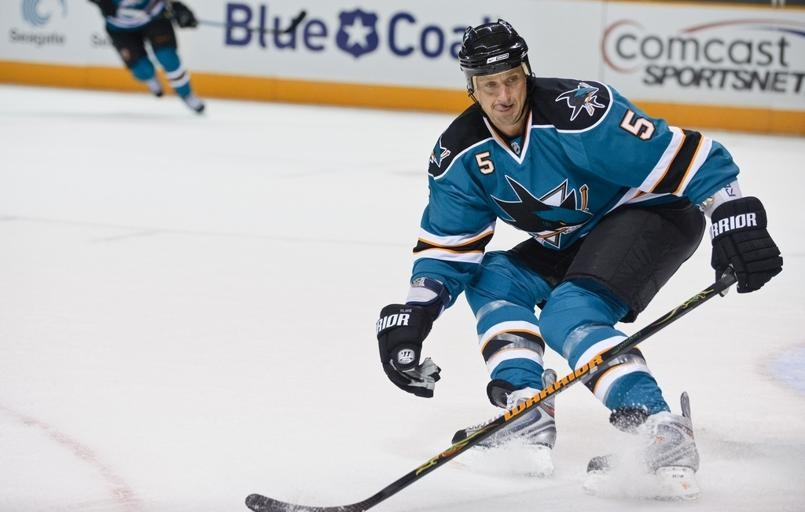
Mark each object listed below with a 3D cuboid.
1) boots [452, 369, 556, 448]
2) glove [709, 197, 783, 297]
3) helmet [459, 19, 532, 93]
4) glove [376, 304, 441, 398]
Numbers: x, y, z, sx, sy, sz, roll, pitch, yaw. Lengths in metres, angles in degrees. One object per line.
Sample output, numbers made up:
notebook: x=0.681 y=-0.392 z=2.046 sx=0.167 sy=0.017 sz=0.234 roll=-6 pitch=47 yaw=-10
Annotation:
boots: x=0.463 y=0.552 z=3.714 sx=0.160 sy=0.290 sz=0.452 roll=-17 pitch=20 yaw=-30
glove: x=1.317 y=-0.045 z=3.529 sx=0.250 sy=0.331 sz=0.212 roll=2 pitch=21 yaw=7
helmet: x=0.378 y=-0.815 z=3.790 sx=0.288 sy=0.285 sz=0.328 roll=-19 pitch=30 yaw=-8
glove: x=0.049 y=0.372 z=3.804 sx=0.284 sy=0.355 sz=0.191 roll=-12 pitch=1 yaw=32
